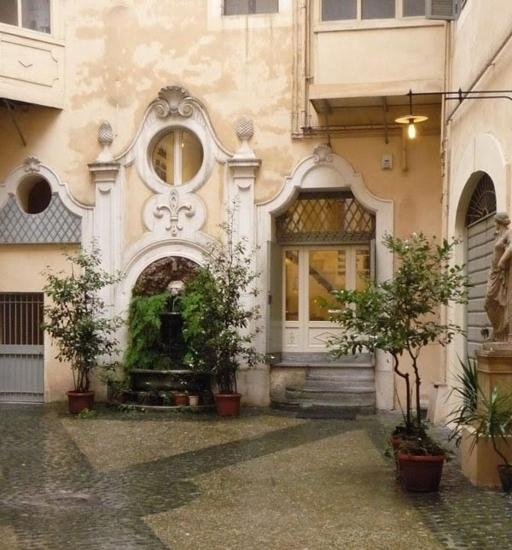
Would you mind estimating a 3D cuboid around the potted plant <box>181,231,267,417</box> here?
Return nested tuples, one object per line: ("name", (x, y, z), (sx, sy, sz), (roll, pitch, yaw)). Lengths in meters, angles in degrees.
("potted plant", (-0.513, 0.666, 12.155), (1.375, 3.156, 1.351), (0, -5, 4))

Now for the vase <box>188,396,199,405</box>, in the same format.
("vase", (-1.004, 2.060, 12.043), (0.150, 0.110, 0.141), (0, -2, 4))

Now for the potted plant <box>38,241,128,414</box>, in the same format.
("potted plant", (-2.910, 0.821, 12.496), (1.356, 2.893, 1.674), (1, -5, -13))

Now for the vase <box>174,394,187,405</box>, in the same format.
("vase", (-1.202, 2.041, 12.034), (0.188, 0.125, 0.184), (4, -8, -21))
